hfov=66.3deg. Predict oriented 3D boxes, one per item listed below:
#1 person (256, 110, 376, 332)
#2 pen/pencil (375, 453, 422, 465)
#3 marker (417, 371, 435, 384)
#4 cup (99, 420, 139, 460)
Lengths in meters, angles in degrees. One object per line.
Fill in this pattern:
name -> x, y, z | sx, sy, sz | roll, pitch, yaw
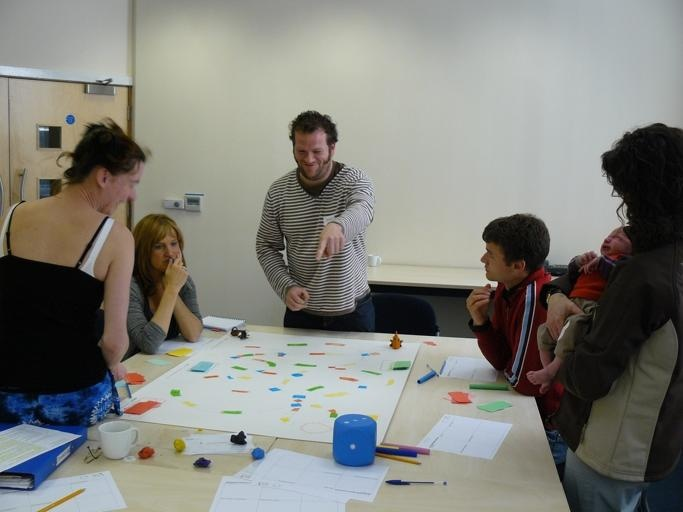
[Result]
person -> -0.053, -0.135, 2.656 | 0.560, 1.153, 0.770 | -6, 13, -33
pen/pencil -> 0.173, 0.625, 1.611 | 0.117, 0.017, 0.014 | 6, 21, 7
marker -> 0.348, 0.497, 2.150 | 0.028, 0.030, 0.106 | 17, 20, 35
cup -> -0.683, 0.555, 1.580 | 0.115, 0.099, 0.090 | 7, -8, -44
